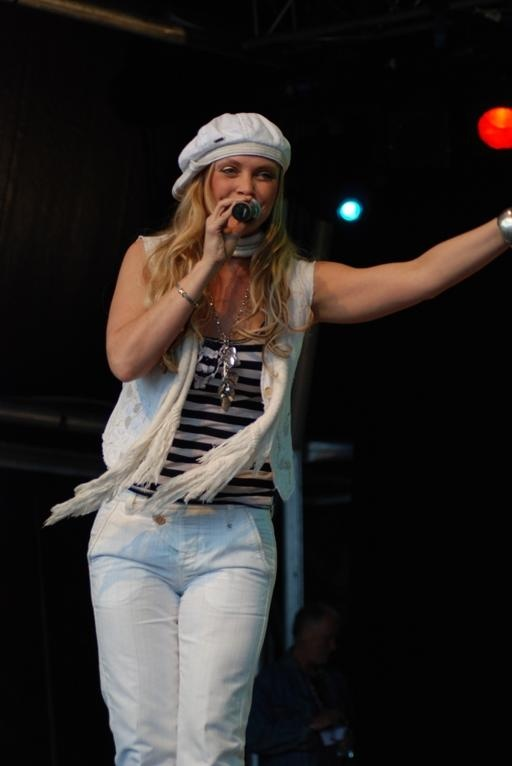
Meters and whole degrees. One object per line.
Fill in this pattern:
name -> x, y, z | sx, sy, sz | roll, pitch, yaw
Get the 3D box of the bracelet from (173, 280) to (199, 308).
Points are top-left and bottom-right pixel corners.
bracelet -> -0.100, -0.127, 1.168 | 0.031, 0.031, 0.021 | 3, 15, -3

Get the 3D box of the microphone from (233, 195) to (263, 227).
microphone -> -0.012, -0.249, 1.172 | 0.045, 0.039, 0.046 | -4, 3, 2

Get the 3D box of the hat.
hat -> -0.041, -0.353, 1.308 | 0.117, 0.069, 0.147 | 4, -11, -43
